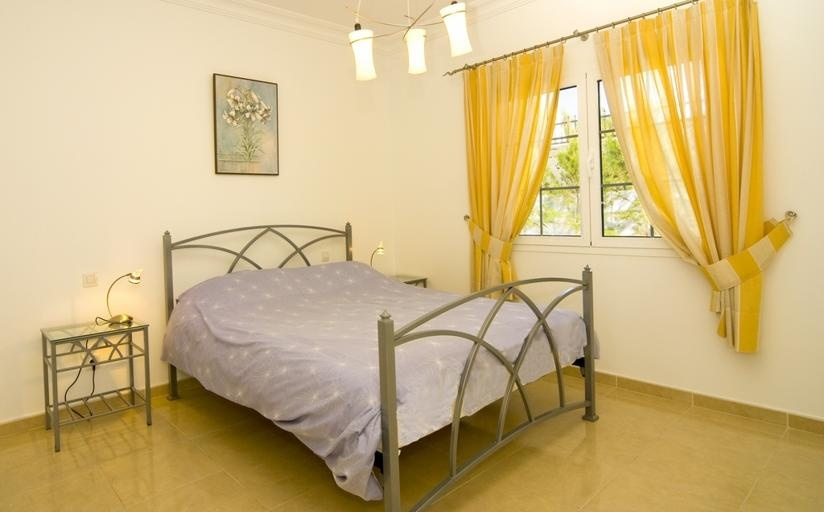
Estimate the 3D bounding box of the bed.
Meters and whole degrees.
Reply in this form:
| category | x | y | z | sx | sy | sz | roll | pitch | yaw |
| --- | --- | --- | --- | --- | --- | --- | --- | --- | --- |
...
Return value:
| category | x | y | z | sx | sy | sz | roll | pitch | yaw |
| --- | --- | --- | --- | --- | --- | --- | --- | --- | --- |
| bed | -0.362 | 0.703 | 4.803 | 2.094 | 1.620 | 3.020 | -5 | 4 | -41 |

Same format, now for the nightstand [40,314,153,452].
| category | x | y | z | sx | sy | sz | roll | pitch | yaw |
| --- | --- | --- | --- | --- | --- | --- | --- | --- | --- |
| nightstand | -2.686 | 1.049 | 4.652 | 0.745 | 0.929 | 0.521 | -5 | 10 | -41 |
